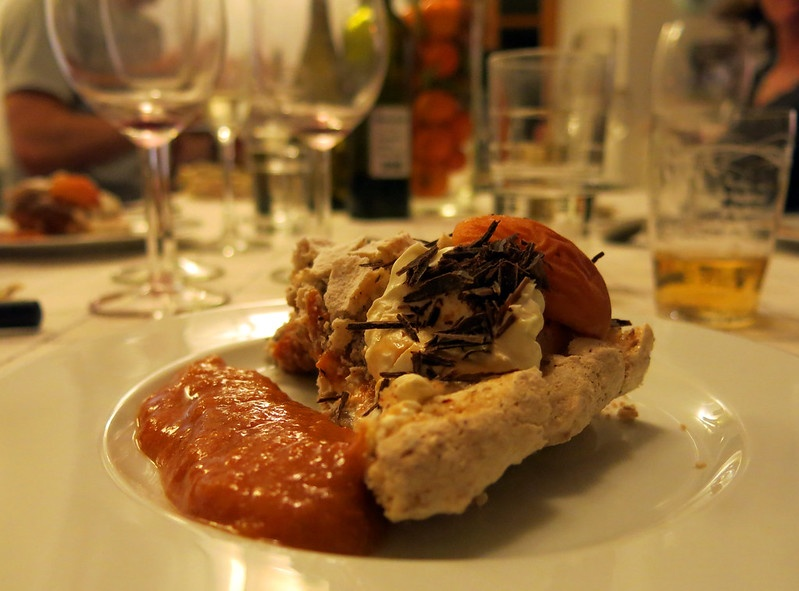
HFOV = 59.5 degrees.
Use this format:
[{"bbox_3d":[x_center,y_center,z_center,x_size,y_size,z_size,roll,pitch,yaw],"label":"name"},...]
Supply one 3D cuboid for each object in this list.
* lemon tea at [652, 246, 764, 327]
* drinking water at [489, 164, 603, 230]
[{"bbox_3d":[0.722,-0.031,1.646,0.179,0.120,0.191,-3,8,-34],"label":"lemon tea"},{"bbox_3d":[0.399,-0.291,2.171,0.361,0.197,0.346,2,9,-2],"label":"drinking water"}]
